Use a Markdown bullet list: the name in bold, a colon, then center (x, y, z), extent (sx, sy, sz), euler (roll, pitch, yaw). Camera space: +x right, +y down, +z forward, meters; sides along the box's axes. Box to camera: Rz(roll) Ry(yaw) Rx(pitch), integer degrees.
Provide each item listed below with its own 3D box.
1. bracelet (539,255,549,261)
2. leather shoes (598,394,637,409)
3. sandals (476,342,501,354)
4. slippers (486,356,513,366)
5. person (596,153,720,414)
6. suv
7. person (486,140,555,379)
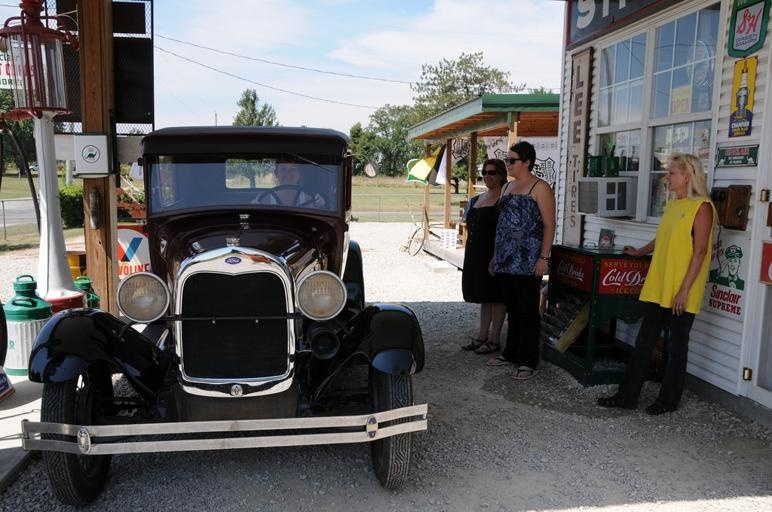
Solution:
- **bracelet**: center (1.737, 0.032, 6.166), extent (0.115, 0.053, 0.035), euler (-7, 12, -26)
- **leather shoes**: center (2.309, 1.461, 5.635), extent (0.324, 0.137, 0.144), euler (-2, 9, 28)
- **sandals**: center (1.262, 1.132, 6.964), extent (0.282, 0.108, 0.133), euler (-1, 0, -12)
- **slippers**: center (1.321, 1.234, 6.653), extent (0.248, 0.064, 0.117), euler (3, -1, -13)
- **person**: center (2.697, 0.286, 5.445), extent (0.795, 2.464, 0.444), euler (1, 11, 13)
- **suv**: center (-1.224, 0.397, 4.635), extent (2.857, 2.898, 1.476), euler (-2, 10, -4)
- **person**: center (1.495, 0.046, 6.303), extent (0.667, 2.555, 0.603), euler (5, 12, 30)
